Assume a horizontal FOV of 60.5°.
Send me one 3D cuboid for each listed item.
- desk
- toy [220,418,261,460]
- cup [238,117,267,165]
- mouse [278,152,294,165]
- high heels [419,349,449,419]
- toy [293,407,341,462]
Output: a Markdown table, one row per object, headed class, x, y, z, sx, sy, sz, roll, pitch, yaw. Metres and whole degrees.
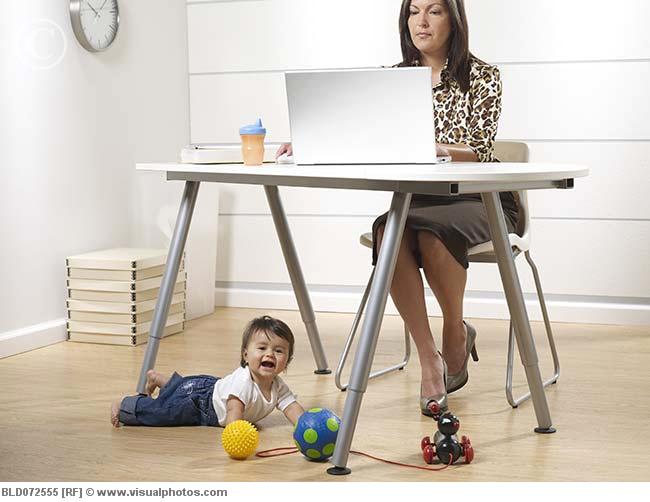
| class | x | y | z | sx | sy | sz | roll | pitch | yaw |
| --- | --- | --- | --- | --- | --- | --- | --- | --- | --- |
| desk | 0.110 | 0.136 | 1.831 | 1.290 | 0.860 | 0.770 | 4 | 6 | 38 |
| toy | -0.235 | 0.524 | 1.594 | 0.092 | 0.107 | 0.096 | 3 | -1 | 44 |
| cup | -0.236 | -0.350 | 1.810 | 0.078 | 0.159 | 0.214 | 0 | 5 | -9 |
| mouse | -0.135 | -0.299 | 1.864 | 0.051 | 0.018 | 0.055 | 0 | 21 | 5 |
| high heels | 0.368 | 0.423 | 1.838 | 0.074 | 0.248 | 0.093 | -2 | -15 | 34 |
| toy | -0.018 | 0.516 | 1.590 | 0.124 | 0.131 | 0.155 | -9 | 54 | 0 |
